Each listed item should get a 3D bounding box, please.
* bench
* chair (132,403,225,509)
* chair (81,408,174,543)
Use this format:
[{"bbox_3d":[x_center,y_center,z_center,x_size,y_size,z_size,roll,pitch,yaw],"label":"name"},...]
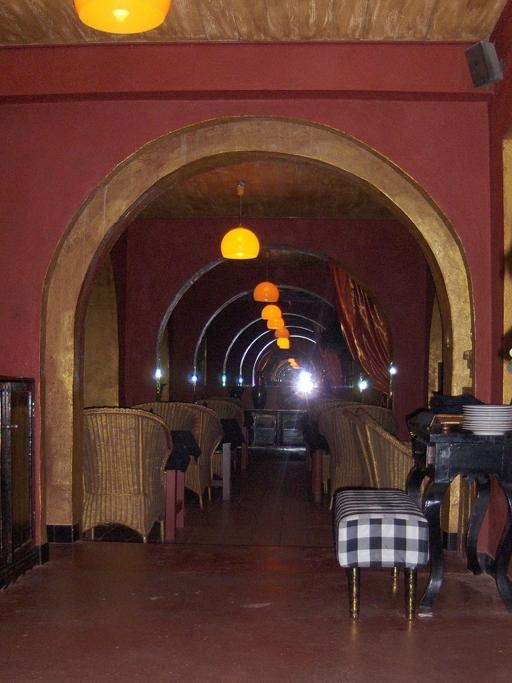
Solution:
[{"bbox_3d":[0.595,1.030,3.279,0.432,0.509,0.573,0,-3,7],"label":"bench"},{"bbox_3d":[-0.647,1.018,6.406,0.812,1.275,0.807,0,-1,6],"label":"chair"},{"bbox_3d":[-0.900,0.890,4.945,0.689,1.261,0.768,1,1,3],"label":"chair"}]
